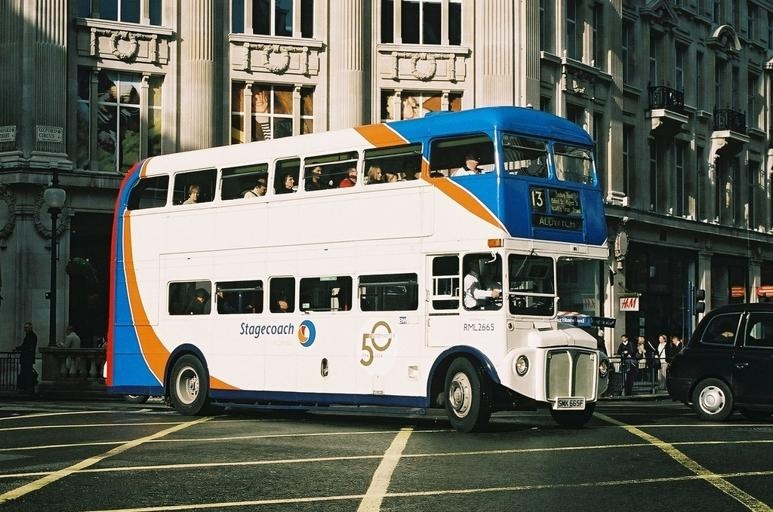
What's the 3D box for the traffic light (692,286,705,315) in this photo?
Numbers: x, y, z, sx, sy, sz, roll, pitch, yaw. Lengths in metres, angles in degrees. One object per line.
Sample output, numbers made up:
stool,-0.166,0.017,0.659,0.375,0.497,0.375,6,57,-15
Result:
traffic light,11.851,1.719,52.620,0.409,1.274,1.302,-1,-2,11
